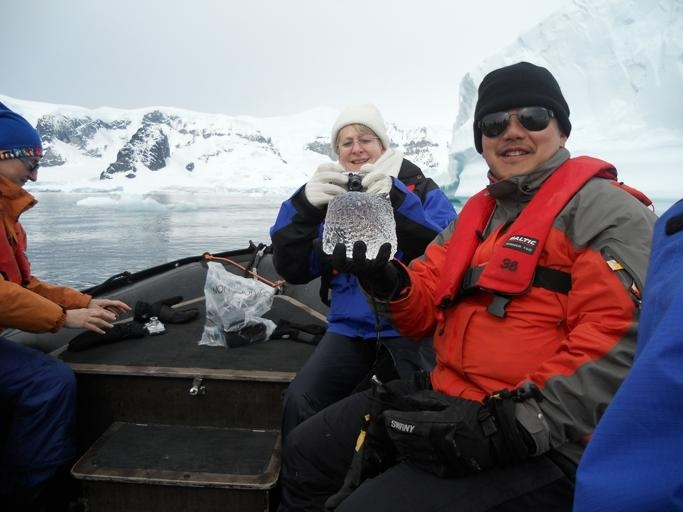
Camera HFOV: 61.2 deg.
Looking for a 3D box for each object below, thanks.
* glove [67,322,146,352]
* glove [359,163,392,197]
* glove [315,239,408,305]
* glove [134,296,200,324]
[{"bbox_3d":[-1.230,0.415,3.036,0.349,0.079,0.119,-4,19,-45],"label":"glove"},{"bbox_3d":[0.144,-0.299,2.327,0.133,0.057,0.166,3,-8,28],"label":"glove"},{"bbox_3d":[0.069,0.057,1.900,0.222,0.230,0.326,5,7,24],"label":"glove"},{"bbox_3d":[-1.067,0.338,3.472,0.292,0.085,0.197,3,6,-9],"label":"glove"}]
